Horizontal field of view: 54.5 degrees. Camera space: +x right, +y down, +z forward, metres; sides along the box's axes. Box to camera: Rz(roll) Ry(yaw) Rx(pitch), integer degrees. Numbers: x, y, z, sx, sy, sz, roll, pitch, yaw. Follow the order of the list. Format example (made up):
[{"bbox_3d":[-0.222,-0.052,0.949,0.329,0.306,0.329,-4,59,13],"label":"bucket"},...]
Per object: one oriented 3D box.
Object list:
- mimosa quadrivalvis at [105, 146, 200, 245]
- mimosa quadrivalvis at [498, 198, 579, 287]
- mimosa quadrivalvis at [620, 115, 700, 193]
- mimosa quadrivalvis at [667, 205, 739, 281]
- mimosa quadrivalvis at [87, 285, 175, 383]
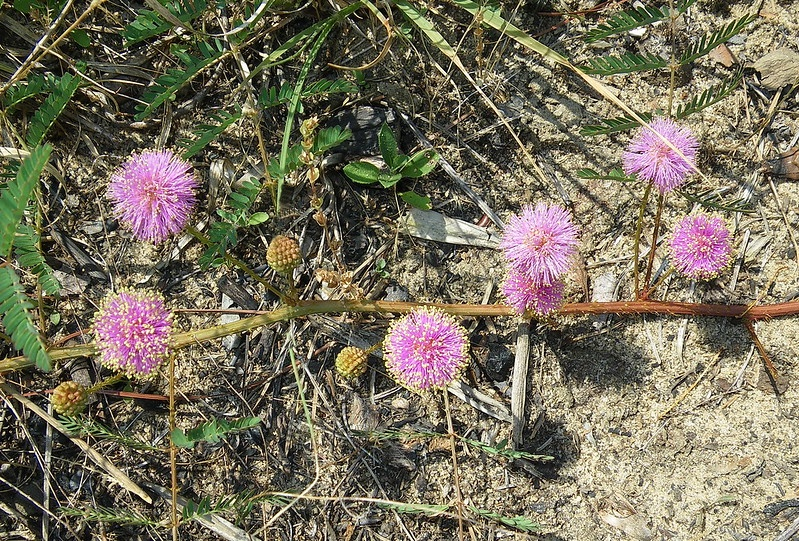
[{"bbox_3d":[-1.407,-0.426,4.616,0.502,0.304,0.552,-12,90,-3],"label":"mimosa quadrivalvis"},{"bbox_3d":[0.832,-0.104,4.601,0.410,0.506,0.406,9,58,13],"label":"mimosa quadrivalvis"},{"bbox_3d":[1.525,-0.679,4.597,0.402,0.258,0.444,7,79,12],"label":"mimosa quadrivalvis"},{"bbox_3d":[1.869,-0.134,4.816,0.390,0.353,0.350,19,61,19],"label":"mimosa quadrivalvis"},{"bbox_3d":[-1.664,0.254,4.581,0.481,0.307,0.542,18,86,37],"label":"mimosa quadrivalvis"}]
